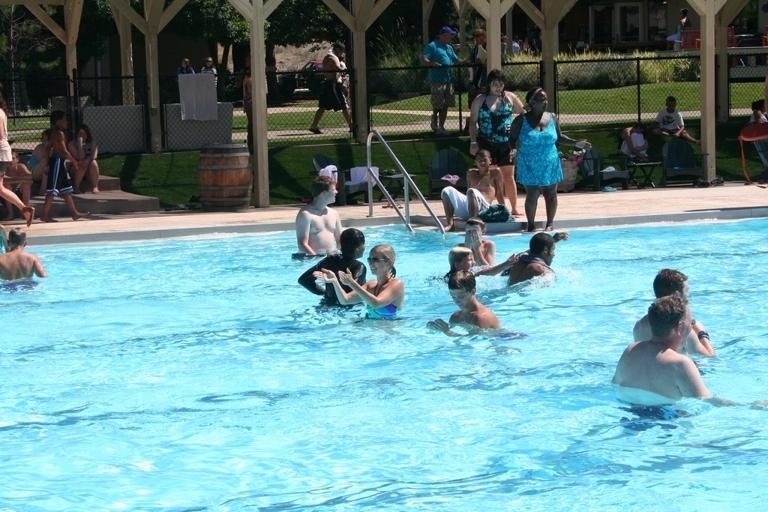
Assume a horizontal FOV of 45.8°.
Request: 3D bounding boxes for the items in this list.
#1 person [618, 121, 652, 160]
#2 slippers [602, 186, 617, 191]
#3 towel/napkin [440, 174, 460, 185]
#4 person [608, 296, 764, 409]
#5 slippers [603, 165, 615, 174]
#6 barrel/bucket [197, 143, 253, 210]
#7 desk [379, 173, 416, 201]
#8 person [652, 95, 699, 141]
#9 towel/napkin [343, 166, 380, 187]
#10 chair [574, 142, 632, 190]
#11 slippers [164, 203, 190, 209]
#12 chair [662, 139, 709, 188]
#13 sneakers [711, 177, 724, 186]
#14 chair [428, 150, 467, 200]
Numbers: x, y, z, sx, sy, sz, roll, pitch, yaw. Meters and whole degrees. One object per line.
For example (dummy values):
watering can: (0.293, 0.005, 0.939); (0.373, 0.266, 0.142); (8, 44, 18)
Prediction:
person: (5.606, -2.559, 20.127); (0.562, 0.799, 0.766); (-5, 19, -30)
slippers: (4.709, -1.367, 18.838); (0.309, 0.089, 0.400); (-3, 7, 11)
towel/napkin: (1.297, -1.472, 17.645); (0.281, 0.091, 0.273); (-5, 18, -44)
person: (2.504, 0.847, 8.176); (0.748, 0.958, 0.393); (-2, 7, 18)
slippers: (4.747, -1.777, 18.948); (0.233, 0.128, 0.385); (6, 12, 34)
barrel/bucket: (-3.092, -1.500, 17.297); (1.109, 1.172, 1.176); (0, 7, 0)
desk: (0.235, -1.493, 19.131); (0.693, 0.653, 0.677); (-9, 11, -42)
person: (6.903, -3.176, 21.217); (0.743, 0.992, 1.340); (-4, 17, -24)
towel/napkin: (-0.494, -1.585, 18.142); (0.374, 0.247, 0.539); (20, 27, 41)
chair: (4.598, -1.882, 19.260); (0.854, 0.942, 1.037); (-6, 6, -26)
slippers: (-4.057, -0.959, 17.898); (0.665, 0.095, 0.321); (2, 9, 41)
chair: (6.436, -1.988, 19.541); (0.990, 0.974, 1.007); (-3, 7, 5)
sneakers: (7.212, -1.570, 19.504); (0.186, 0.130, 0.294); (6, 15, 19)
chair: (1.456, -1.646, 17.885); (0.804, 1.087, 0.837); (0, 7, -2)
